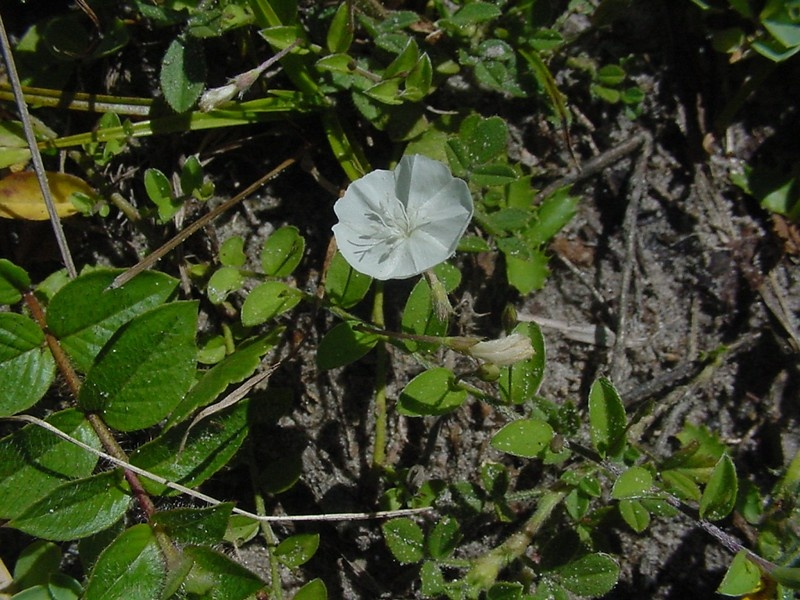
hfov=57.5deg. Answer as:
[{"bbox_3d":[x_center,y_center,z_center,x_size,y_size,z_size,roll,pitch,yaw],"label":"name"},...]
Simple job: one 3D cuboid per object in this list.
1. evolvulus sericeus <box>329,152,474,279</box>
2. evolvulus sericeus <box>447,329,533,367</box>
[{"bbox_3d":[-0.005,-0.319,2.771,0.493,0.432,0.316,9,22,-5],"label":"evolvulus sericeus"},{"bbox_3d":[0.279,0.169,2.619,0.389,0.109,0.109,-1,13,21],"label":"evolvulus sericeus"}]
